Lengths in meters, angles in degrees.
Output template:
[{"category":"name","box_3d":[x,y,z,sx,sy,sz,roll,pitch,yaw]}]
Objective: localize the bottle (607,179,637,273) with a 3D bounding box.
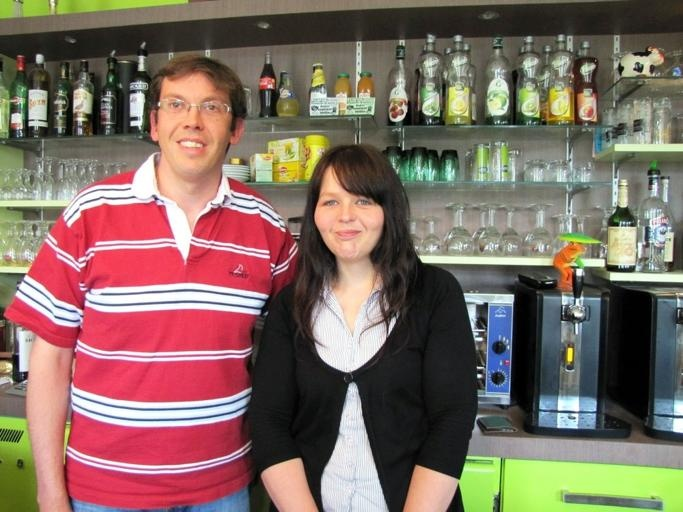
[{"category":"bottle","box_3d":[1.178,-0.122,2.625,0.122,0.372,0.226,-1,2,25]}]

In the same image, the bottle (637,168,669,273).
[{"category":"bottle","box_3d":[1.335,-0.155,2.677,0.119,0.438,0.223,-1,2,27]}]

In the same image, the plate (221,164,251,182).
[{"category":"plate","box_3d":[-0.468,-0.372,2.790,0.129,0.057,0.127,0,0,-6]}]
